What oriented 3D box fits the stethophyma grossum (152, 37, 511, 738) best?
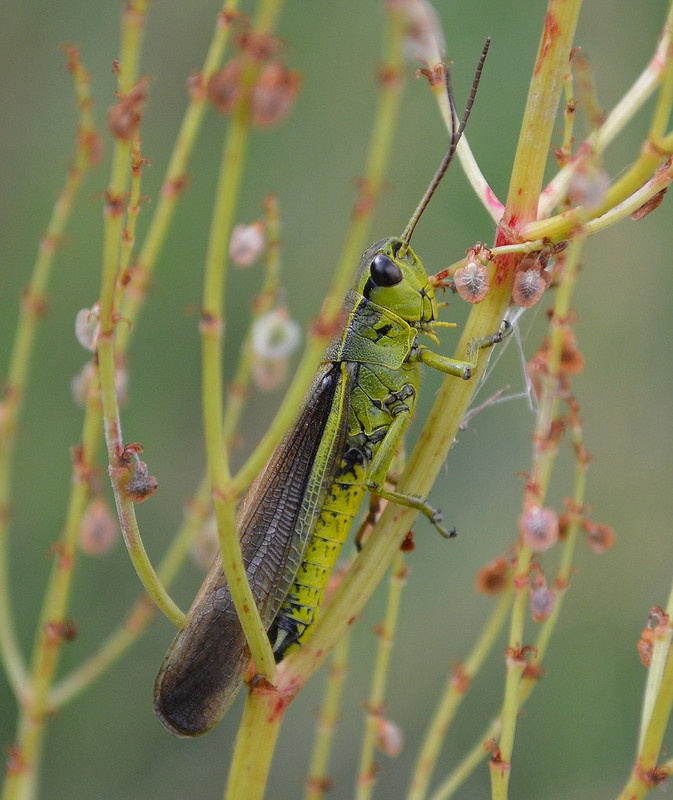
[{"bbox_3d":[0.033,0.000,1.233,0.266,0.598,0.364,15,6,7],"label":"stethophyma grossum"}]
